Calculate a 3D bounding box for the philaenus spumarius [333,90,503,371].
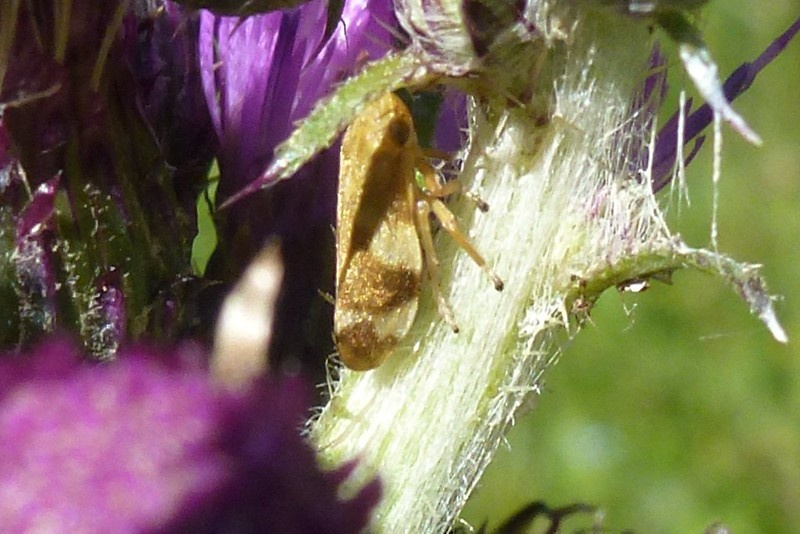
[{"bbox_3d":[0.026,-0.052,1.443,0.097,0.319,0.246,-2,17,-33],"label":"philaenus spumarius"}]
